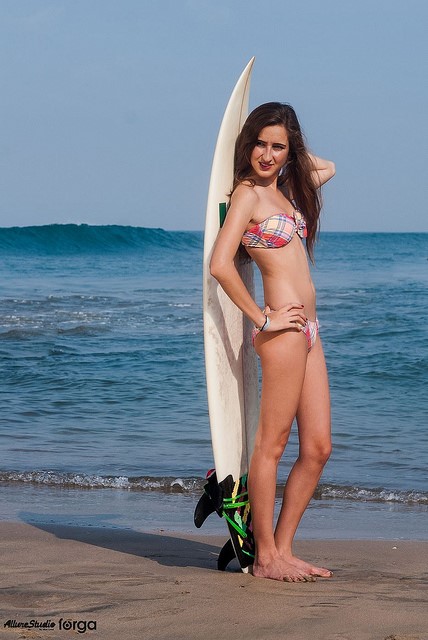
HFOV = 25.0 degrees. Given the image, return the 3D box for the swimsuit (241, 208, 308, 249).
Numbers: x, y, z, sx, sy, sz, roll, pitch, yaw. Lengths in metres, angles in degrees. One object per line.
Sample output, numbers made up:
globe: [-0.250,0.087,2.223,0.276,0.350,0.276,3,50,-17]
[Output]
swimsuit: [0.253,-0.379,3.837,0.180,0.109,0.328,9,21,32]

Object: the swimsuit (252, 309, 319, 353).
swimsuit: [0.297,0.059,3.824,0.192,0.143,0.209,1,-4,32]

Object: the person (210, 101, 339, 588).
person: [0.275,0.103,3.879,0.418,1.886,0.684,2,-3,24]

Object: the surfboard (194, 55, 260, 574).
surfboard: [0.074,-0.011,3.894,0.253,1.967,0.346,6,8,22]
